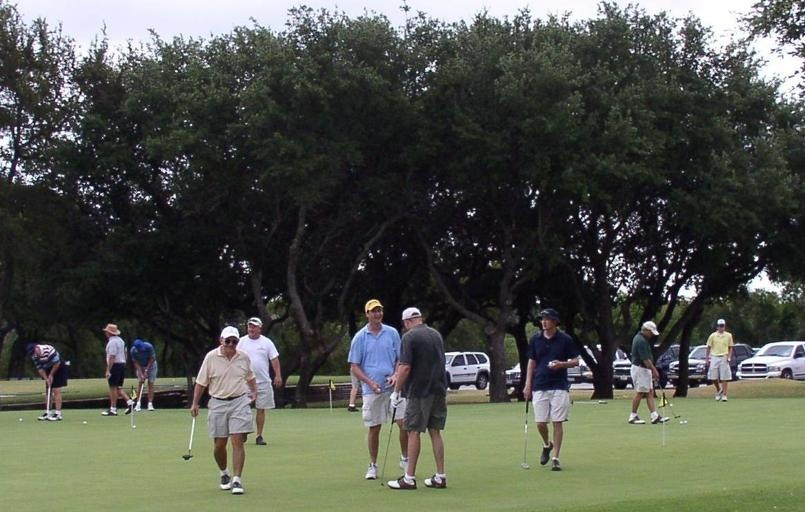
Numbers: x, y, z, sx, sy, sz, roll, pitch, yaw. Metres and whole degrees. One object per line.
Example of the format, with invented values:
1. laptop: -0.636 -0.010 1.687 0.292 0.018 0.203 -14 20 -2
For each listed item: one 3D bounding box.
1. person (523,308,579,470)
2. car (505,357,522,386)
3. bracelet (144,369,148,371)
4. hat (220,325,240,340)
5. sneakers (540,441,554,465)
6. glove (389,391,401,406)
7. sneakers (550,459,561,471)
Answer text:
1. person: 3.985 3.536 25.180 1.325 4.186 0.875 0 -5 10
2. car: 7.225 7.331 59.870 1.312 1.287 2.762 -3 -13 19
3. bracelet: -9.879 4.373 36.430 0.091 0.092 0.022 -17 13 -36
4. hat: -4.349 1.915 23.791 0.417 0.340 0.676 2 -7 -14
5. sneakers: 3.843 5.191 25.292 0.231 0.703 0.273 9 -1 41
6. glove: -0.186 3.636 24.091 0.276 0.167 0.380 7 24 -22
7. sneakers: 4.078 5.464 24.954 0.276 0.303 0.381 0 -6 6
